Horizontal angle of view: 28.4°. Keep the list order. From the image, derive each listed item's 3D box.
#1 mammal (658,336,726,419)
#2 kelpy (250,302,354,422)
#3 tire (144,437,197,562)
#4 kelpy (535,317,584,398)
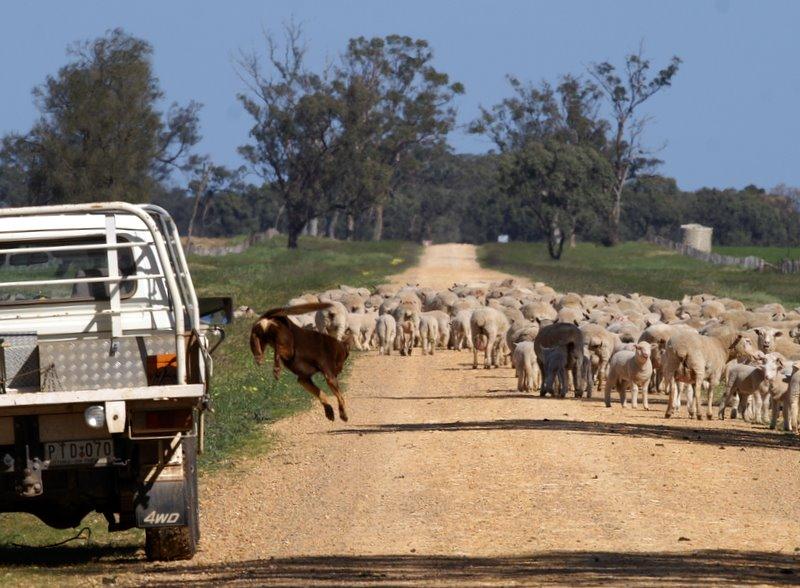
[{"bbox_3d":[6.280,1.710,32.981,0.758,1.934,2.461,8,5,38],"label":"mammal"},{"bbox_3d":[-1.582,1.117,28.274,0.796,1.880,2.744,-11,-25,35],"label":"kelpy"},{"bbox_3d":[-3.702,3.316,25.257,0.669,1.882,1.791,-1,7,-1],"label":"tire"},{"bbox_3d":[3.408,1.455,34.424,1.047,1.605,0.836,3,12,23],"label":"kelpy"}]
